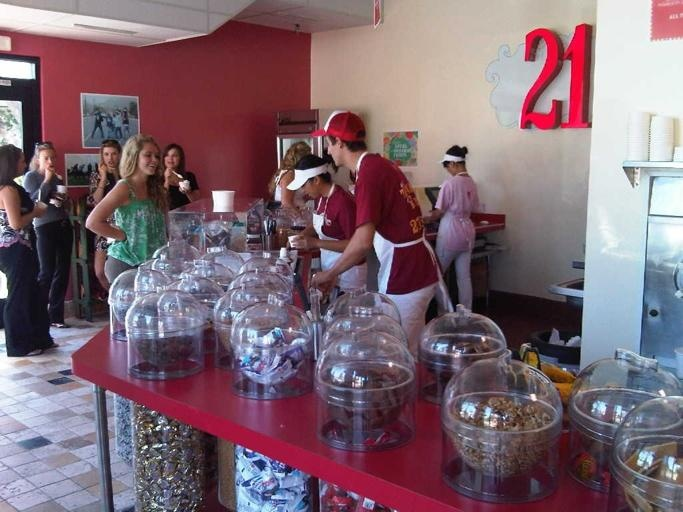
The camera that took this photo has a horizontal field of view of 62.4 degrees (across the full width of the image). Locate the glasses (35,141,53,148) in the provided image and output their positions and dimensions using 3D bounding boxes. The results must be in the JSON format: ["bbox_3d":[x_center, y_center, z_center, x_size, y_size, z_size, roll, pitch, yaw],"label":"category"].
[{"bbox_3d":[-3.147,-1.196,5.981,0.137,0.110,0.142,1,1,-16],"label":"glasses"}]

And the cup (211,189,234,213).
[{"bbox_3d":[-0.881,-0.402,4.161,0.165,0.155,0.198,0,3,-9],"label":"cup"}]

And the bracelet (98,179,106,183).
[{"bbox_3d":[-2.639,-0.825,6.236,0.057,0.046,0.058,2,2,-39],"label":"bracelet"}]

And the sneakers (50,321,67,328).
[{"bbox_3d":[-3.168,0.775,6.350,0.171,0.083,0.066,-1,-8,-7],"label":"sneakers"}]

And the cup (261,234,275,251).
[{"bbox_3d":[-0.501,-0.094,4.018,0.104,0.139,0.105,1,0,0],"label":"cup"}]

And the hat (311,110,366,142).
[{"bbox_3d":[-0.032,-0.723,3.245,0.298,0.167,0.201,20,29,22],"label":"hat"}]

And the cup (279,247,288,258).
[{"bbox_3d":[-0.320,-0.016,3.133,0.047,0.057,0.050,1,0,0],"label":"cup"}]

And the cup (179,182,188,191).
[{"bbox_3d":[-1.330,-0.592,4.759,0.070,0.076,0.095,1,7,-7],"label":"cup"}]

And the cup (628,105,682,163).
[{"bbox_3d":[1.752,-0.680,3.176,0.250,0.277,0.169,7,12,31],"label":"cup"}]

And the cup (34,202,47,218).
[{"bbox_3d":[-2.845,-0.444,5.326,0.095,0.144,0.209,-4,12,-24],"label":"cup"}]

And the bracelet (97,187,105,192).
[{"bbox_3d":[-2.635,-0.734,6.214,0.050,0.053,0.052,15,-1,-26],"label":"bracelet"}]

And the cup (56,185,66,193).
[{"bbox_3d":[-2.723,-0.663,5.490,0.079,0.066,0.085,0,-1,0],"label":"cup"}]

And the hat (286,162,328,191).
[{"bbox_3d":[-0.241,-0.566,3.937,0.236,0.081,0.166,-30,15,-2],"label":"hat"}]

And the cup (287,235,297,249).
[{"bbox_3d":[-0.321,-0.095,3.722,0.074,0.091,0.079,0,-2,0],"label":"cup"}]
